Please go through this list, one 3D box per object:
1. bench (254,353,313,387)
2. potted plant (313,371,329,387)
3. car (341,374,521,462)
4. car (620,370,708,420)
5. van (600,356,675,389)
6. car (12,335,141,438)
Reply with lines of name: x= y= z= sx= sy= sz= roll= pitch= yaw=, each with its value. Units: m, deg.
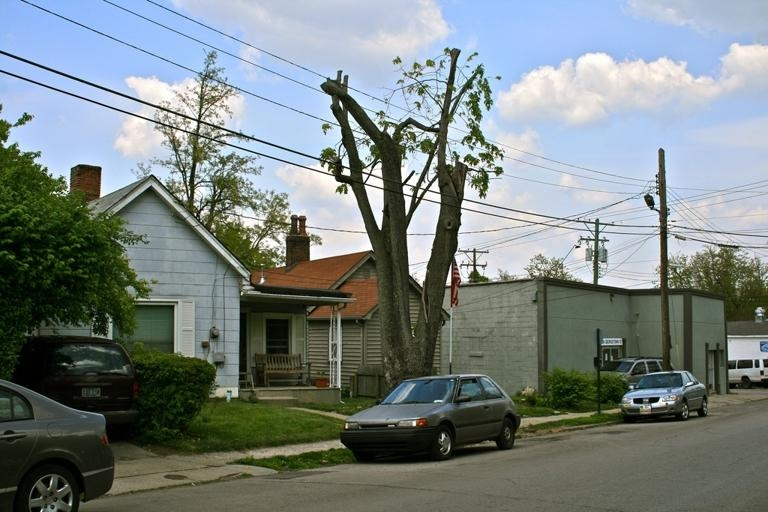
bench: x=-3.711 y=4.194 z=32.882 sx=2.232 sy=1.110 sz=0.957 roll=6 pitch=-5 yaw=-43
potted plant: x=-2.491 y=4.861 z=35.201 sx=0.764 sy=0.712 sz=0.750 roll=2 pitch=-8 yaw=-12
car: x=1.418 y=4.120 z=22.765 sx=2.172 sy=1.489 sz=3.659 roll=-11 pitch=-13 yaw=38
car: x=10.280 y=5.059 z=32.265 sx=3.558 sy=1.874 sz=1.640 roll=10 pitch=-14 yaw=-40
van: x=11.457 y=5.227 z=39.966 sx=2.411 sy=1.121 sz=1.377 roll=1 pitch=-4 yaw=-3
car: x=-7.200 y=2.895 z=21.314 sx=1.793 sy=1.498 sz=3.140 roll=3 pitch=-1 yaw=-28
